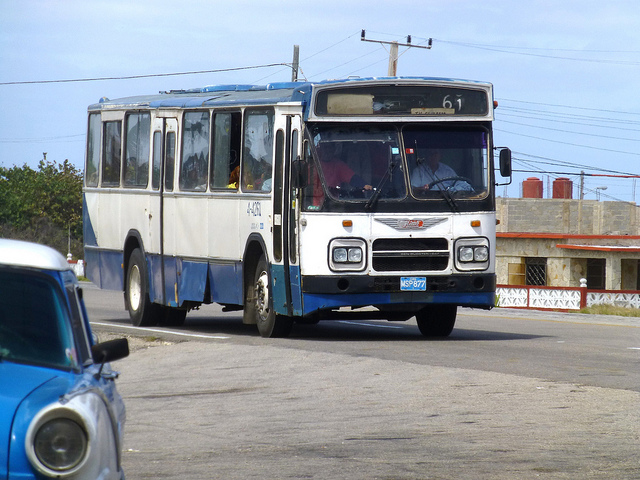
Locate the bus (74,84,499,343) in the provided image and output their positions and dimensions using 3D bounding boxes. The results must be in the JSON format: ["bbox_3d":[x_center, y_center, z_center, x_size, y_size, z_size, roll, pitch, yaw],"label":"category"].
[{"bbox_3d":[-1.491,-0.726,19.840,3.501,4.473,10.786,-2,4,-31],"label":"bus"}]

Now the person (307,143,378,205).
[{"bbox_3d":[0.288,-1.069,15.265,0.800,0.568,0.835,10,8,33],"label":"person"}]
